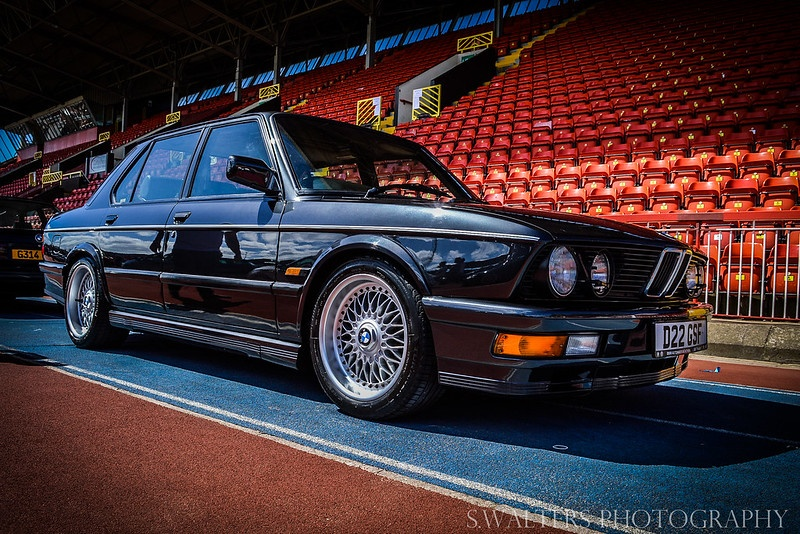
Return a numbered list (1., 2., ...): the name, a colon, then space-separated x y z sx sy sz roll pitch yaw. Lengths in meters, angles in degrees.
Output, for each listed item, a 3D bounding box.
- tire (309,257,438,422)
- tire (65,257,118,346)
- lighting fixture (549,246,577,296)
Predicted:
1. tire: -0.128 0.468 3.326 0.422 1.064 1.257 3 -10 -39
2. tire: -3.116 0.352 4.992 0.369 0.908 1.071 4 7 -45
3. lighting fixture: 0.947 0.026 2.809 0.201 0.292 0.041 -1 8 -28
